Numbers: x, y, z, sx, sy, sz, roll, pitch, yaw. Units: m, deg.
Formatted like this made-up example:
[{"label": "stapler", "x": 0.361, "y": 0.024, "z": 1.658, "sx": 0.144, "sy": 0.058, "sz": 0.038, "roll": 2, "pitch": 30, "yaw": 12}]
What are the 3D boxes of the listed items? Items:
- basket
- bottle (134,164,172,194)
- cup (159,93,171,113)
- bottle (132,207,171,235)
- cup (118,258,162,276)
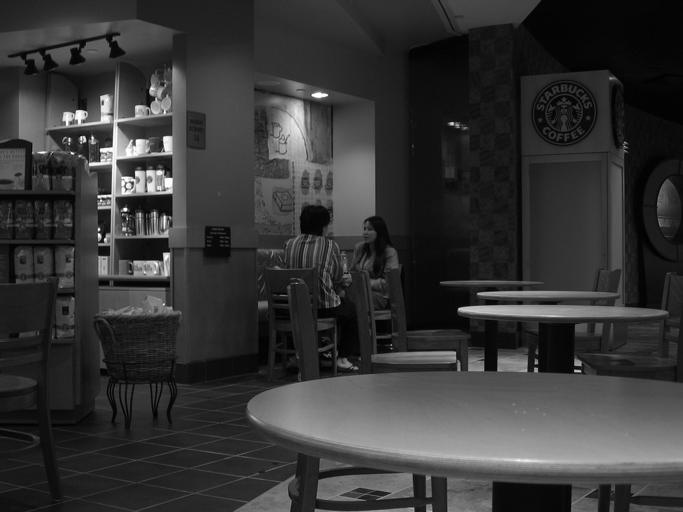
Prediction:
[{"label": "basket", "x": -1.488, "y": 0.627, "z": 4.294, "sx": 0.507, "sy": 0.377, "sz": 0.517, "roll": 1, "pitch": -5, "yaw": -19}, {"label": "bottle", "x": -1.963, "y": -0.793, "z": 6.196, "sx": 0.327, "sy": 0.263, "sz": 0.131, "roll": -2, "pitch": -5, "yaw": 23}, {"label": "cup", "x": -1.834, "y": -1.580, "z": 6.166, "sx": 0.130, "sy": 0.179, "sz": 0.062, "roll": 3, "pitch": 2, "yaw": 25}, {"label": "bottle", "x": -1.988, "y": -0.329, "z": 6.258, "sx": 0.422, "sy": 0.347, "sz": 0.280, "roll": 1, "pitch": 1, "yaw": 26}, {"label": "cup", "x": -2.085, "y": 0.167, "z": 6.190, "sx": 0.248, "sy": 0.125, "sz": 0.366, "roll": 0, "pitch": -3, "yaw": 15}]
